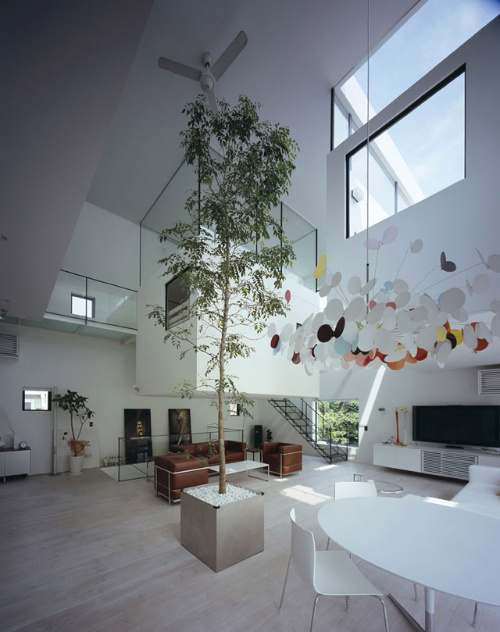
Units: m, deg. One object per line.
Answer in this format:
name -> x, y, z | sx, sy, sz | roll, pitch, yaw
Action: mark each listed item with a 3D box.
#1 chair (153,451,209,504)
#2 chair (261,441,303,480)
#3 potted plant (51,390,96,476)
chair -> -1.115, 2.549, 6.791 | 0.808, 0.696, 0.938 | 0, -2, 1
chair -> 0.664, 2.824, 8.544 | 0.614, 0.651, 0.657 | 8, -13, -36
potted plant -> -3.731, 2.397, 8.853 | 0.829, 1.692, 0.871 | 1, -6, -24
